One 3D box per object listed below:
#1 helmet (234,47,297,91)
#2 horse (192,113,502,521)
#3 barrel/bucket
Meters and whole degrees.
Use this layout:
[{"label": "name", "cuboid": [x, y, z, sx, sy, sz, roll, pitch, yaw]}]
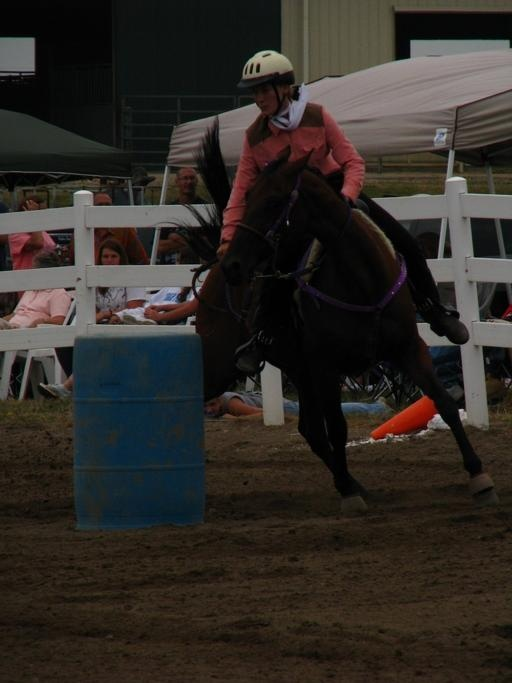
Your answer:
[{"label": "helmet", "cuboid": [0.047, -1.249, 4.692, 0.258, 0.120, 0.177, 3, -5, -42]}, {"label": "horse", "cuboid": [0.321, -0.134, 4.904, 1.281, 1.903, 1.084, -2, 4, -17]}, {"label": "barrel/bucket", "cuboid": [-0.763, 0.442, 4.800, 0.851, 0.882, 0.802, -3, -6, 0]}]
